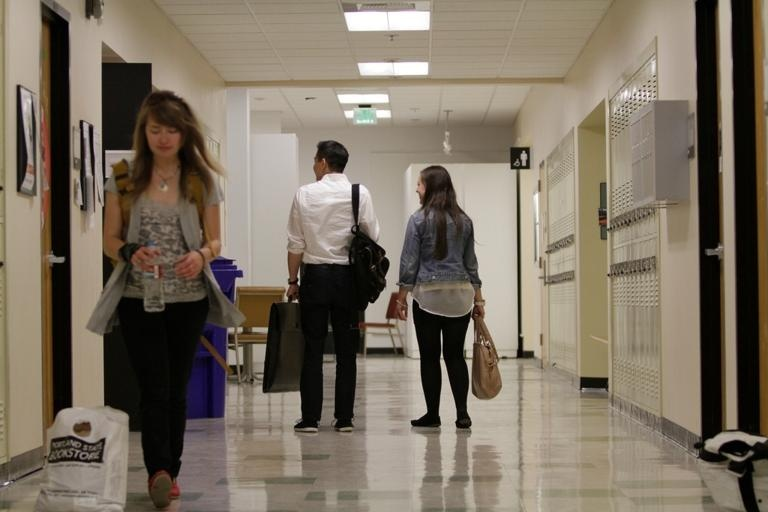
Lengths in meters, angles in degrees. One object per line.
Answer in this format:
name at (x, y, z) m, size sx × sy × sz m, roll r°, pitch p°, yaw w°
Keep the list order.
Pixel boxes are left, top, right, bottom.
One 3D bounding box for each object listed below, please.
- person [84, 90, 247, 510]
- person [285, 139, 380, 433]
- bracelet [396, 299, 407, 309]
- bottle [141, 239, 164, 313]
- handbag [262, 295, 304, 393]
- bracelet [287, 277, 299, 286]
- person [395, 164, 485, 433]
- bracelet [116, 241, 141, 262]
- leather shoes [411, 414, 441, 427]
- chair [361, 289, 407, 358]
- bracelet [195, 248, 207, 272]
person at (-1.154, 0.219, 3.107) m, size 0.717 × 2.188 × 0.338 m, roll 2°, pitch -5°, yaw -28°
person at (-0.441, 0.210, 4.894) m, size 0.718 × 2.467 × 0.370 m, roll 1°, pitch -5°, yaw -10°
bracelet at (0.144, 0.411, 5.130) m, size 0.085 × 0.072 × 0.078 m, roll -5°, pitch 12°, yaw -31°
bottle at (-1.170, 0.162, 2.993) m, size 0.104 × 0.239 × 0.108 m, roll 0°, pitch -5°, yaw 0°
handbag at (-0.810, 0.718, 4.742) m, size 0.299 × 0.724 × 0.167 m, roll 1°, pitch -5°, yaw -11°
bracelet at (-0.745, 0.204, 4.874) m, size 0.089 × 0.048 × 0.122 m, roll 3°, pitch 2°, yaw 31°
person at (0.481, 0.312, 5.116) m, size 0.734 × 2.301 × 0.369 m, roll 0°, pitch -5°, yaw 3°
bracelet at (-1.286, -0.027, 2.970) m, size 0.081 × 0.104 × 0.083 m, roll 8°, pitch -24°, yaw 5°
leather shoes at (0.360, 1.422, 5.137) m, size 0.280 × 0.121 × 0.105 m, roll 2°, pitch -5°, yaw 13°
chair at (-0.084, 1.328, 11.905) m, size 0.971 × 1.256 × 0.947 m, roll 3°, pitch -5°, yaw -41°
bracelet at (-0.958, 0.014, 3.080) m, size 0.061 × 0.110 × 0.074 m, roll 1°, pitch -5°, yaw -18°
